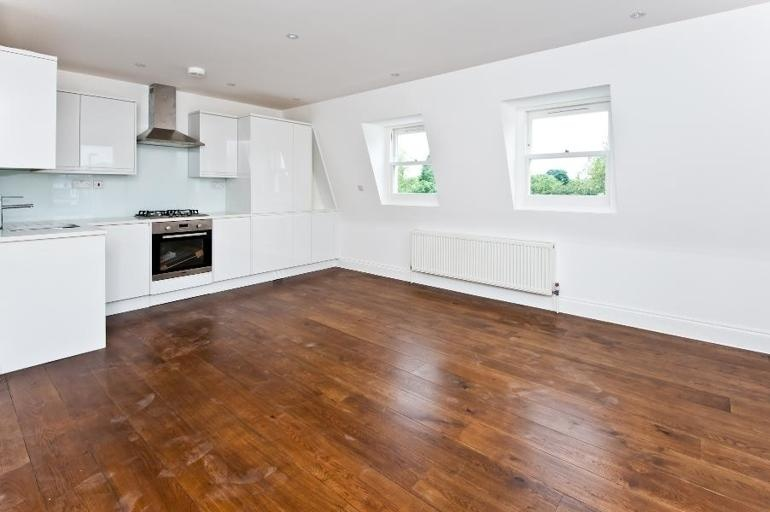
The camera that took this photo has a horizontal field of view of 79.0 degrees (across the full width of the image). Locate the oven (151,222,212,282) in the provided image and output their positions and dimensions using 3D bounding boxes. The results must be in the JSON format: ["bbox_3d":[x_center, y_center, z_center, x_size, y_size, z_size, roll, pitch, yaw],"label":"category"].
[{"bbox_3d":[-2.870,-0.151,6.319,0.590,0.815,0.818,16,17,37],"label":"oven"}]

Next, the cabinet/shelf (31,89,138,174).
[{"bbox_3d":[-3.626,-1.515,5.853,1.141,0.985,0.362,3,13,8],"label":"cabinet/shelf"}]

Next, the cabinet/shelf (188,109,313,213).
[{"bbox_3d":[-2.078,-1.402,6.919,0.645,1.470,1.765,1,2,35],"label":"cabinet/shelf"}]

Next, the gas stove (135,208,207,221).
[{"bbox_3d":[-2.895,-0.568,6.250,0.822,0.103,0.675,-6,10,-26],"label":"gas stove"}]
